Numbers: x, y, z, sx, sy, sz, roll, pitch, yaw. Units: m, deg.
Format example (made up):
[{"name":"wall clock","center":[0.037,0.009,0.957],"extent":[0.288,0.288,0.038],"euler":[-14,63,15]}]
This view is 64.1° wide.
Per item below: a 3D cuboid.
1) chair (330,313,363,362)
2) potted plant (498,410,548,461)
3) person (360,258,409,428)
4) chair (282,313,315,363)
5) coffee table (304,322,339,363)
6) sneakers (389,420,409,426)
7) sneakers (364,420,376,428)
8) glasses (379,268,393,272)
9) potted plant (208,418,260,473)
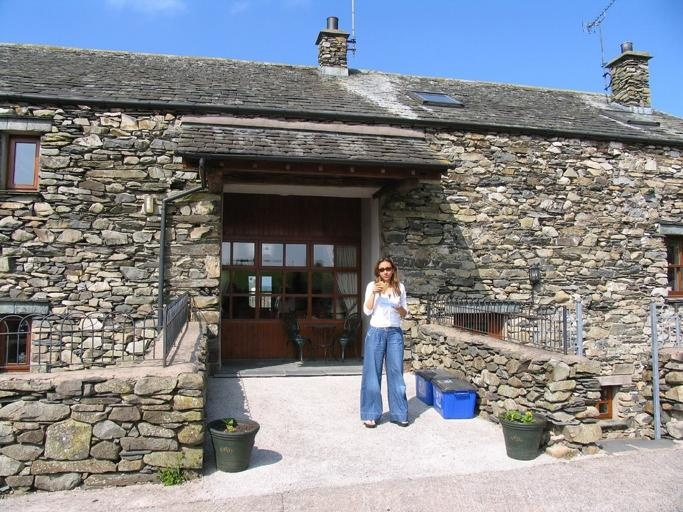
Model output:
[{"name":"chair","center":[0.154,1.838,12.039],"extent":[0.573,0.975,1.026],"euler":[0,8,0]},{"name":"potted plant","center":[2.328,2.331,7.006],"extent":[0.672,0.425,0.598],"euler":[1,-10,-7]},{"name":"person","center":[0.643,1.233,7.658],"extent":[0.740,2.419,0.526],"euler":[-1,9,-4]},{"name":"chair","center":[-0.953,1.767,11.863],"extent":[0.593,1.119,1.042],"euler":[-1,8,-5]},{"name":"coffee table","center":[-0.403,1.936,12.476],"extent":[0.951,0.737,0.848],"euler":[2,-8,-15]},{"name":"sneakers","center":[0.828,2.385,7.782],"extent":[0.254,0.082,0.083],"euler":[2,-3,35]},{"name":"sneakers","center":[0.415,2.381,7.677],"extent":[0.130,0.072,0.207],"euler":[0,-7,1]},{"name":"glasses","center":[0.627,0.198,7.510],"extent":[0.176,0.050,0.041],"euler":[0,8,3]},{"name":"potted plant","center":[-1.242,2.286,6.505],"extent":[0.666,0.400,0.637],"euler":[1,0,-34]}]
